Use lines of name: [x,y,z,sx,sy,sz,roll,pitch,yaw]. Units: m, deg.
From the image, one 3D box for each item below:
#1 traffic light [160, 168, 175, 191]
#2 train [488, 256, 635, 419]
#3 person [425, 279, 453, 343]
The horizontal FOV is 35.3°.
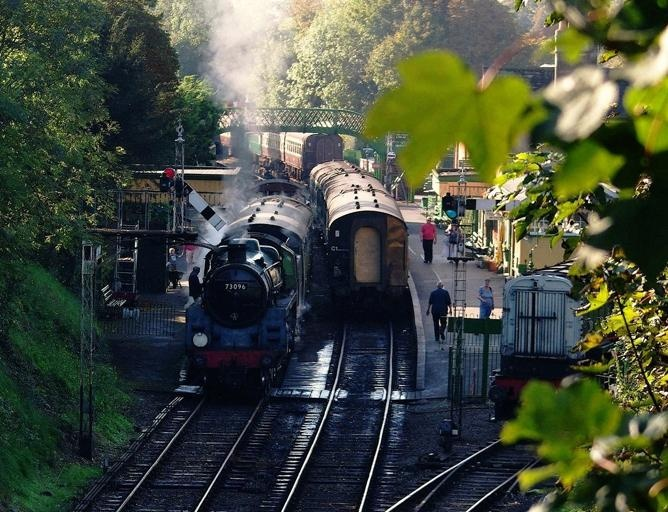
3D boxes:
traffic light: [-3.884,-1.734,24.430,0.339,0.535,0.486,-1,9,-9]
train: [4.155,1.380,17.762,1.818,2.862,5.232,-1,2,7]
person: [2.380,1.208,23.513,0.594,1.343,0.516,5,23,14]
